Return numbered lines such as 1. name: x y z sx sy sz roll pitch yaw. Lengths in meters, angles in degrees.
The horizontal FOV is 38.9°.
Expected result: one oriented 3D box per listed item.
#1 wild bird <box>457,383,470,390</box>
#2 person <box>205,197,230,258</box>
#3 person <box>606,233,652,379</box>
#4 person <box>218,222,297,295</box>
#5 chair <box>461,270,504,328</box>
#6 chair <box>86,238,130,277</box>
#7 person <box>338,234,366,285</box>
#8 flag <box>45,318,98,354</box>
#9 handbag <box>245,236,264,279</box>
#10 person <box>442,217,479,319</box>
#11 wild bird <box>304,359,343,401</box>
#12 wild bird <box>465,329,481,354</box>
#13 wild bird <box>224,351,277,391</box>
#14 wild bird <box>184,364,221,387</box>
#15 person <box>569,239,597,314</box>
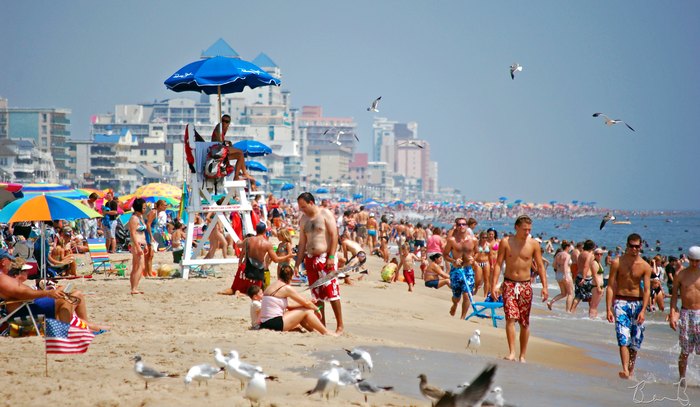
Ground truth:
1. wild bird: 2.695 4.407 23.628 0.187 0.274 0.646 -3 -14 23
2. person: -4.320 0.883 32.091 0.631 2.203 0.700 1 0 1
3. person: 7.338 2.721 26.227 1.060 3.854 1.129 3 0 18
4. person: -2.700 1.663 28.685 0.972 2.704 1.136 0 0 43
5. chair: 4.161 2.975 29.294 1.727 1.899 1.438 -1 1 5
6. chair: -8.012 1.845 32.479 1.151 1.612 1.081 1 -1 -7
7. person: -0.140 1.507 26.564 0.778 1.728 1.121 0 -1 3
8. flag: -6.876 3.275 24.101 1.082 0.920 0.308 3 0 -12
9. handbag: -2.735 1.684 28.374 0.578 1.142 0.347 3 0 -6
10. person: 3.332 1.931 29.965 1.034 3.079 1.067 2 -1 9
11. wild bird: -0.537 4.221 23.365 1.055 1.293 0.603 5 -1 -5
12. wild bird: 3.362 3.777 27.035 0.389 0.630 1.135 3 1 7
13. wild bird: -2.514 3.980 23.861 1.509 1.052 0.527 -9 -8 19
14. wild bird: -3.528 4.151 23.604 0.847 0.526 0.543 3 0 -12
15. person: 7.625 2.349 32.520 0.918 1.936 0.697 0 0 34
